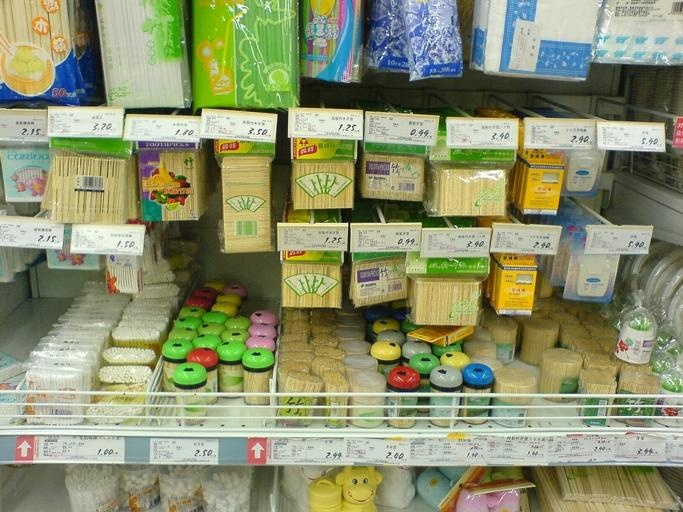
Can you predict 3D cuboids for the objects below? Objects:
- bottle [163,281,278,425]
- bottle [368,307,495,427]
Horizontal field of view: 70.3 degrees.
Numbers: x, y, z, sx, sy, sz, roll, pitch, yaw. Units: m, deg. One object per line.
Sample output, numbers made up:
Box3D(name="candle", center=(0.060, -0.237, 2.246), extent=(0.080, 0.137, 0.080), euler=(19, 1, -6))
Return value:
Box3D(name="bottle", center=(-0.425, 0.325, 1.745), extent=(0.315, 0.137, 0.428), euler=(1, 28, -6))
Box3D(name="bottle", center=(0.304, 0.372, 1.759), extent=(0.406, 0.209, 0.580), euler=(-2, 24, -1))
